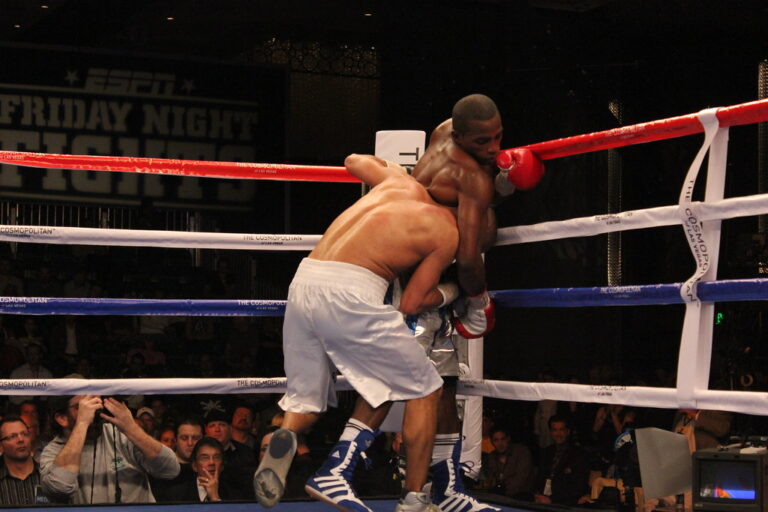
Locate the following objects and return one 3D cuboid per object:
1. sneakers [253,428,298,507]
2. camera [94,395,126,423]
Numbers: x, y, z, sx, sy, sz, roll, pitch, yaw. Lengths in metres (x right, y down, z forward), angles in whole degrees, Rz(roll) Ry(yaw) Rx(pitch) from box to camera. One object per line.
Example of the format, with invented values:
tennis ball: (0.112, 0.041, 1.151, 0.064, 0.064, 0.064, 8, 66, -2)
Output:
sneakers: (-0.760, 1.485, 7.369, 0.235, 0.598, 0.266, 19, -8, 0)
camera: (-2.328, 1.301, 8.851, 0.247, 0.230, 0.462, -10, -2, -15)
